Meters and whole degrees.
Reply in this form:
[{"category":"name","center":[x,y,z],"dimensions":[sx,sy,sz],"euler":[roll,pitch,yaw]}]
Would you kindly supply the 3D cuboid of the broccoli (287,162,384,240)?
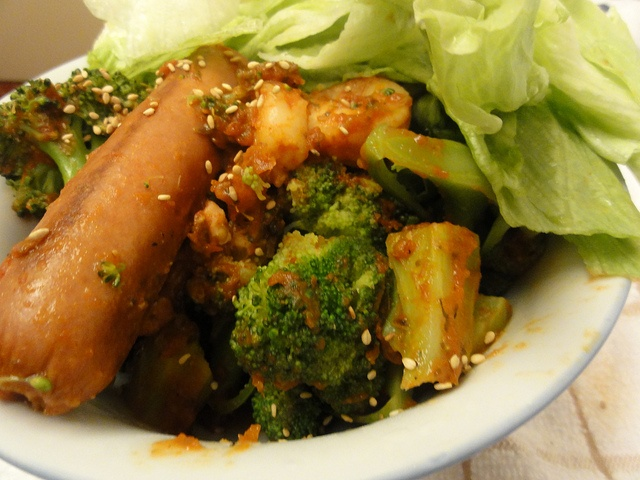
[{"category":"broccoli","center":[0.062,-0.129,2.074],"dimensions":[0.297,0.108,0.254],"euler":[26,83,11]}]
